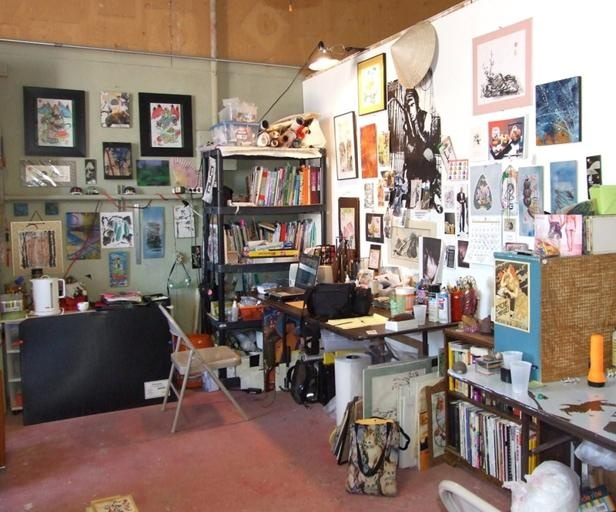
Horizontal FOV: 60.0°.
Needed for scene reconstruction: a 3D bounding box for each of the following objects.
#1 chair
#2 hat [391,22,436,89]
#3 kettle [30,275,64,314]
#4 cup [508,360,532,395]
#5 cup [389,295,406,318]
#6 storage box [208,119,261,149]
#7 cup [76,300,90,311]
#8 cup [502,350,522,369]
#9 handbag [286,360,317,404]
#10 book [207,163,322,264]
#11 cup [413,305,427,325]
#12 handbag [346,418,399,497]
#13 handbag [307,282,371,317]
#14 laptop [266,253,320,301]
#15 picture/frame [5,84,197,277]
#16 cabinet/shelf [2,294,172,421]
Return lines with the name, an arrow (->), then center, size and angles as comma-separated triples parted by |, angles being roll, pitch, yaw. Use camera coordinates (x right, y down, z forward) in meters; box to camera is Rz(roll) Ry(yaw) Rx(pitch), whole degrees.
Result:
chair -> -0.920, 0.860, 4.509 | 0.655, 0.921, 0.899 | -4, 9, -18
hat -> 0.737, -1.602, 4.107 | 0.265, 0.507, 0.446 | -1, 17, -33
kettle -> -2.267, 0.342, 4.631 | 0.212, 0.348, 0.203 | 4, 6, 8
cup -> 0.997, 0.578, 2.571 | 0.120, 0.157, 0.123 | -1, 7, 0
cup -> 0.639, 0.366, 3.860 | 0.057, 0.153, 0.143 | -7, 10, -37
storage box -> -0.656, -1.118, 4.878 | 0.426, 0.221, 0.198 | -1, 8, 2
cup -> -2.003, 0.444, 4.715 | 0.067, 0.069, 0.085 | -1, -4, 3
cup -> 1.021, 0.522, 2.664 | 0.073, 0.068, 0.083 | 0, -2, 1
handbag -> -0.050, 1.047, 4.563 | 0.197, 0.412, 0.266 | 5, 13, 7
book -> -0.429, -0.393, 5.159 | 0.784, 1.179, 0.368 | -3, 9, -21
cup -> 0.773, 0.421, 3.787 | 0.103, 0.134, 0.107 | 0, 7, 0
handbag -> 0.397, 1.243, 3.307 | 0.307, 0.495, 0.199 | 1, -2, 16
handbag -> 0.237, 0.389, 4.069 | 0.502, 0.308, 0.306 | 1, -35, -1
laptop -> -0.130, 0.156, 4.576 | 0.358, 0.363, 0.449 | 2, 4, -34
picture/frame -> -1.894, -0.730, 5.017 | 1.665, 1.662, 0.269 | -4, 8, -16
cabinet/shelf -> -1.831, 0.830, 4.507 | 1.209, 0.913, 0.308 | -5, -3, -25
